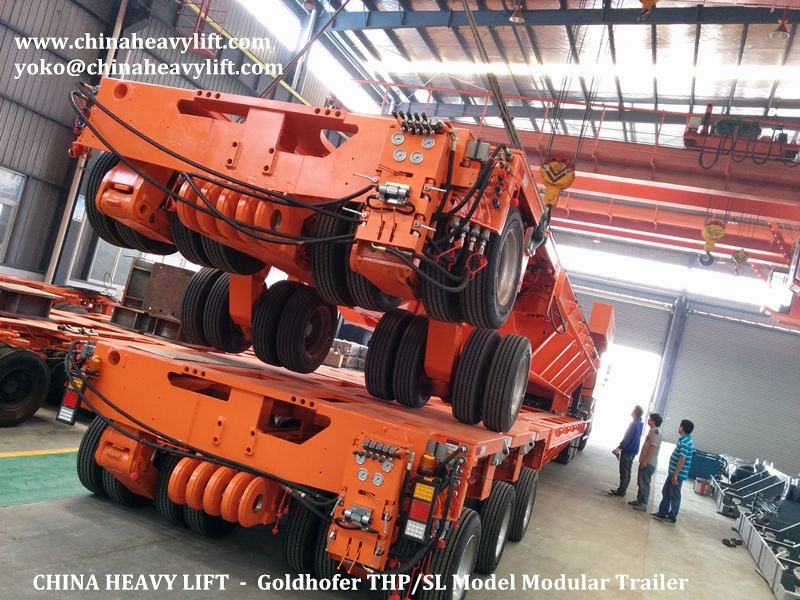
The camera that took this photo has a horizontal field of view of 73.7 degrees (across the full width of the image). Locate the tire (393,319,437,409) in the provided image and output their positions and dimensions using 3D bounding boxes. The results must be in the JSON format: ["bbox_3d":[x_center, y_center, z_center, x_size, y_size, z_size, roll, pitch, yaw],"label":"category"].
[{"bbox_3d":[0.126,0.582,5.084,0.263,0.803,0.721,8,22,18],"label":"tire"}]

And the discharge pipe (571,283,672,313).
[{"bbox_3d":[9.009,-0.077,20.985,3.993,0.547,0.441,12,-6,10],"label":"discharge pipe"}]

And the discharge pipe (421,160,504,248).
[{"bbox_3d":[0.460,-0.626,3.830,0.272,0.929,0.285,23,-17,35],"label":"discharge pipe"}]

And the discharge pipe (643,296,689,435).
[{"bbox_3d":[11.184,2.323,21.954,0.777,5.085,0.549,11,-6,28],"label":"discharge pipe"}]

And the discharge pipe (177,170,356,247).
[{"bbox_3d":[-1.034,-0.666,4.138,1.409,0.571,0.569,13,-4,9],"label":"discharge pipe"}]

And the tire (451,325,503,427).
[{"bbox_3d":[0.715,0.724,4.928,0.293,0.843,0.735,12,-16,24],"label":"tire"}]

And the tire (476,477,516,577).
[{"bbox_3d":[1.001,2.350,5.463,0.283,0.880,0.883,9,-22,22],"label":"tire"}]

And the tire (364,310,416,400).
[{"bbox_3d":[-0.078,0.558,5.113,0.278,0.864,0.780,12,16,19],"label":"tire"}]

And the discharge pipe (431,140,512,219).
[{"bbox_3d":[0.529,-0.811,3.830,0.380,0.692,0.169,23,-1,37],"label":"discharge pipe"}]

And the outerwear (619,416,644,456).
[{"bbox_3d":[4.625,2.680,10.735,0.436,0.791,0.741,7,15,35],"label":"outerwear"}]

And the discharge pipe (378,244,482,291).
[{"bbox_3d":[0.231,-0.203,3.781,0.563,0.096,0.336,28,-11,-37],"label":"discharge pipe"}]

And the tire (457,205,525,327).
[{"bbox_3d":[0.767,-0.163,4.242,0.200,0.833,0.859,5,21,24],"label":"tire"}]

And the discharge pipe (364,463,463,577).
[{"bbox_3d":[0.212,1.506,3.650,0.304,0.937,0.533,35,-41,-15],"label":"discharge pipe"}]

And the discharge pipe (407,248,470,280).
[{"bbox_3d":[0.319,-0.237,3.922,0.305,0.101,0.279,17,1,40],"label":"discharge pipe"}]

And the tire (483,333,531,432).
[{"bbox_3d":[1.004,0.780,5.060,0.337,0.955,0.953,9,-19,22],"label":"tire"}]
